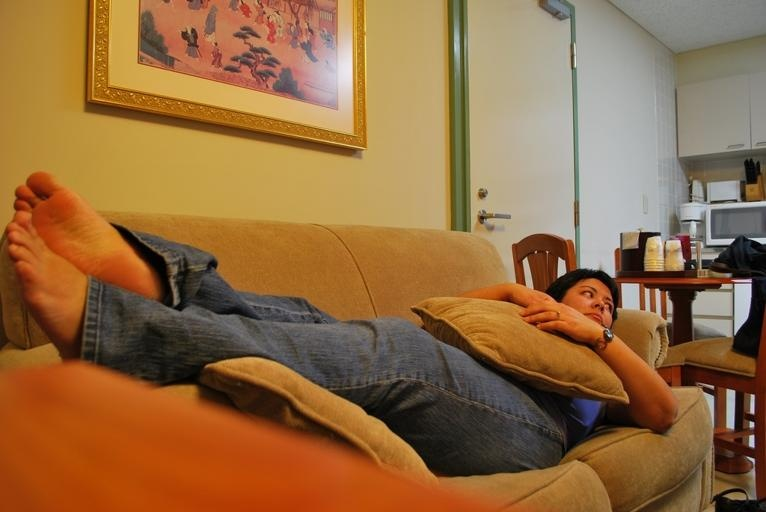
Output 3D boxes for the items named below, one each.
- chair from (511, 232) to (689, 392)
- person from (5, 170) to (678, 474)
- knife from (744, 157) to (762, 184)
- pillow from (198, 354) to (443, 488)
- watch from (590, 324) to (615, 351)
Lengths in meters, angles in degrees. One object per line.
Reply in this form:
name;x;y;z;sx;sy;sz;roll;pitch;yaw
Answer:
chair;1.033;0.186;3.050;0.738;1.228;0.696;-3;5;-11
person;0.051;0.259;1.342;1.605;0.520;0.732;22;-3;-32
knife;3.357;-0.766;5.146;0.093;0.317;0.128;5;-38;23
pillow;-0.134;0.283;1.046;0.291;0.085;0.282;34;-16;-29
watch;0.572;0.215;1.481;0.034;0.047;0.050;39;-7;5
